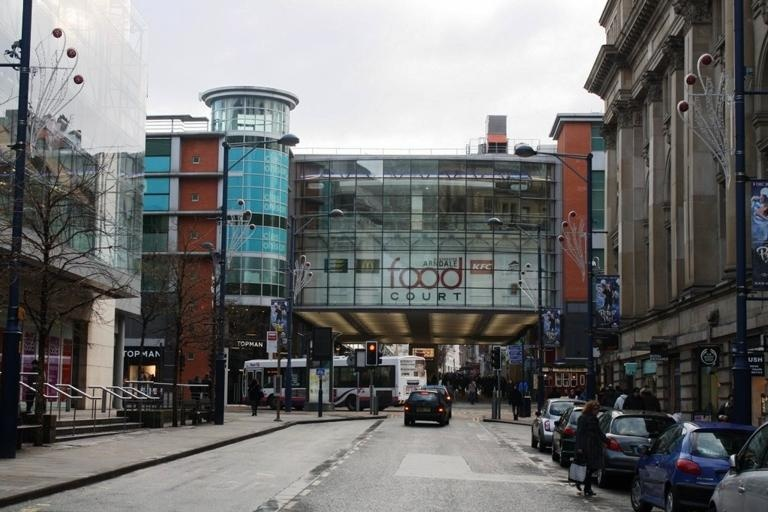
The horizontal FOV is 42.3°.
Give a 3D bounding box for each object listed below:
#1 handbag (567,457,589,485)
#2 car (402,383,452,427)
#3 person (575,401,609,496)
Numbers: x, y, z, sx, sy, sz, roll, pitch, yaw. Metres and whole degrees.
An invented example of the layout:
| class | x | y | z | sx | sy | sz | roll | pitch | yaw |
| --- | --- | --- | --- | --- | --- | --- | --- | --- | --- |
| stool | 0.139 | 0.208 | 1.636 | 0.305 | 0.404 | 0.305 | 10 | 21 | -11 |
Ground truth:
| class | x | y | z | sx | sy | sz | roll | pitch | yaw |
| --- | --- | --- | --- | --- | --- | --- | --- | --- | --- |
| handbag | 5.070 | 5.675 | 26.264 | 0.341 | 0.641 | 0.622 | 9 | -17 | -35 |
| car | 2.049 | 7.293 | 48.243 | 1.839 | 1.821 | 3.220 | 0 | -7 | 7 |
| person | 5.554 | 5.118 | 26.525 | 0.926 | 2.344 | 0.915 | 0 | 0 | 5 |
